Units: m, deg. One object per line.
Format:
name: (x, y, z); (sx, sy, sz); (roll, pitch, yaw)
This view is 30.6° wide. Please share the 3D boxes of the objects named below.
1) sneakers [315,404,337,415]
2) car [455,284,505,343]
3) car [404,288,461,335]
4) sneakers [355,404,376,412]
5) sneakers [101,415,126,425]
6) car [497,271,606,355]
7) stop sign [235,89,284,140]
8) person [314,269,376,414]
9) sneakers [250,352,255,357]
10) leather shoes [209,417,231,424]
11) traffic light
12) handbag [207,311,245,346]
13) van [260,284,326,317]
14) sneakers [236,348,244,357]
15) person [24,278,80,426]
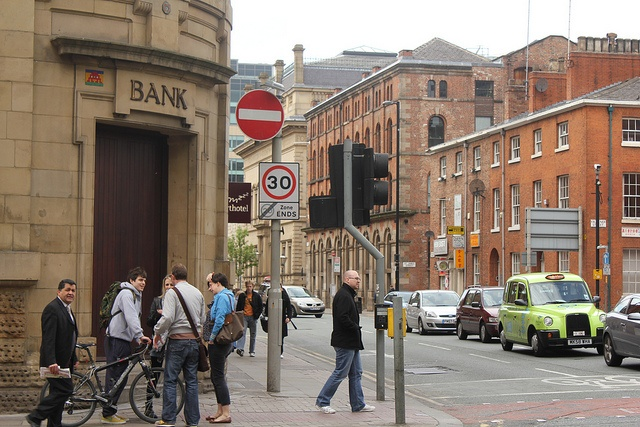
sneakers: (0.133, 4.179, 24.785); (0.421, 0.162, 0.146); (-3, -2, 37)
car: (5.537, 3.445, 40.647); (1.228, 1.043, 2.098); (2, -7, -16)
car: (4.385, 3.750, 44.815); (1.243, 0.995, 2.132); (1, -8, -14)
sneakers: (0.993, 4.175, 24.940); (0.359, 0.137, 0.129); (0, 0, -13)
sneakers: (-4.177, 4.160, 23.440); (0.436, 0.178, 0.197); (0, 0, -6)
car: (6.913, 3.019, 35.284); (1.927, 2.573, 3.523); (6, -8, -32)
stop sign: (-1.367, -2.213, 26.204); (1.053, 1.167, 0.513); (2, -6, -4)
person: (0.578, 2.759, 25.186); (1.084, 3.087, 1.066); (1, -6, 2)
sneakers: (-2.088, 4.297, 35.555); (0.102, 0.116, 0.274); (2, -12, -9)
leather shoes: (-2.024, 4.191, 23.735); (0.453, 0.175, 0.152); (3, -9, 2)
traffic light: (1.089, -0.649, 25.270); (0.814, 1.826, 0.565); (0, -7, 15)
handbag: (-1.910, 2.375, 24.136); (0.603, 0.676, 0.255); (2, -6, -6)
van: (-1.100, 4.462, 60.312); (2.160, 1.767, 3.692); (5, -9, -36)
sneakers: (-2.415, 4.195, 35.096); (0.120, 0.137, 0.319); (0, -35, -2)
person: (-5.141, 2.709, 22.585); (0.738, 2.839, 0.802); (2, -6, -6)
